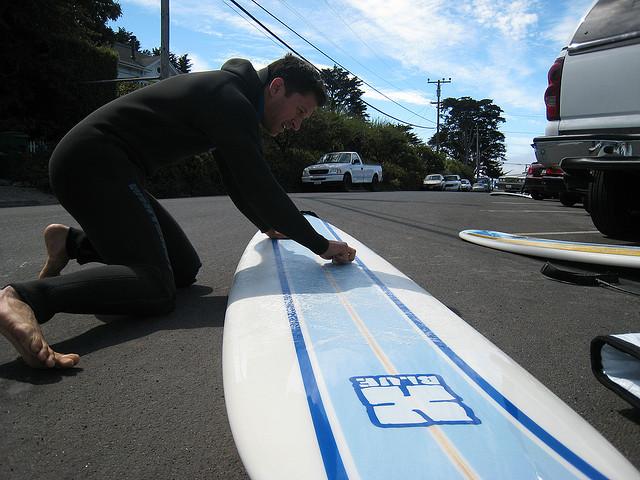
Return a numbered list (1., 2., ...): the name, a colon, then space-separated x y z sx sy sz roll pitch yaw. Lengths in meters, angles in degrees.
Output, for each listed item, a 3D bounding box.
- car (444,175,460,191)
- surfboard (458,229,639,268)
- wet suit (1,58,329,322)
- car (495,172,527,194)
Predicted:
1. car: 10.841 -4.813 32.933 0.975 0.865 1.727 0 4 14
2. surfboard: 1.744 0.073 3.504 0.460 0.179 1.867 -8 5 -28
3. wet suit: -0.710 -0.261 1.811 1.175 1.186 0.487 -10 16 -30
4. car: 10.368 -3.108 21.447 1.041 0.978 2.065 -2 14 0
